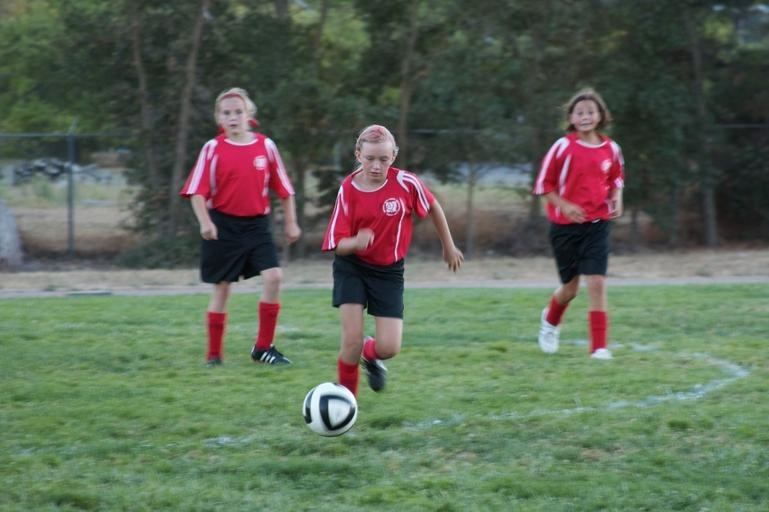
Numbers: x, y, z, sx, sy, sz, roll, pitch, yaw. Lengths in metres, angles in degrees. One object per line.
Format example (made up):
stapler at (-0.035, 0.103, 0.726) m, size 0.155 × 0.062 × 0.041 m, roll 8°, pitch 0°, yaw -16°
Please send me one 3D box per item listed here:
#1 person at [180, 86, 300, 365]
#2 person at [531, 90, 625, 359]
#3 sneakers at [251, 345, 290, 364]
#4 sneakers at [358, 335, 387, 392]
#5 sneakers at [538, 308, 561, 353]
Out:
person at (-1.355, -0.268, 11.733) m, size 1.069 × 2.627 × 0.375 m, roll -1°, pitch 1°, yaw -6°
person at (1.872, -0.296, 11.935) m, size 0.821 × 2.566 × 0.398 m, roll -1°, pitch 1°, yaw 7°
sneakers at (-1.119, 0.968, 11.876) m, size 0.421 × 0.142 × 0.144 m, roll 2°, pitch -3°, yaw 5°
sneakers at (-0.083, 0.971, 11.068) m, size 0.218 × 0.478 × 0.247 m, roll -18°, pitch 2°, yaw -7°
sneakers at (1.574, 0.742, 12.157) m, size 0.203 × 0.421 × 0.194 m, roll 5°, pitch -6°, yaw -17°
